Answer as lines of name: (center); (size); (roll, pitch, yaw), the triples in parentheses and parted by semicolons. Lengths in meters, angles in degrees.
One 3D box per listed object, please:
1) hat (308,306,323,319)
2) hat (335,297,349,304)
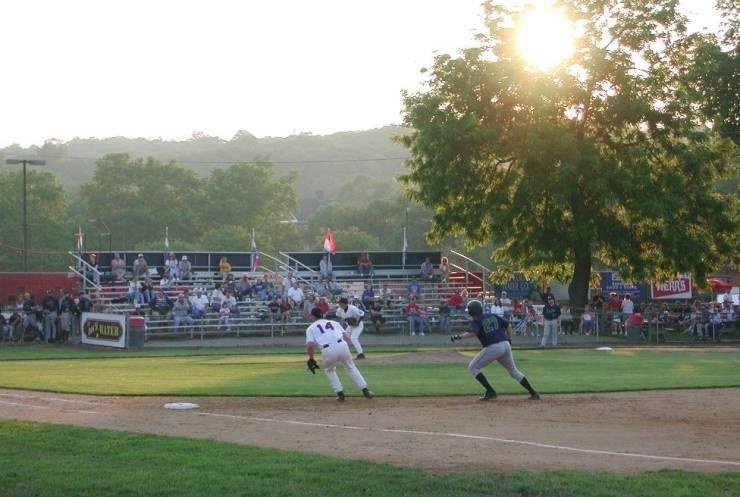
hat: (-2.553, 2.919, 64.906); (0.525, 0.559, 0.846); (5, -29, -5)
hat: (-1.462, 2.596, 72.571); (0.495, 0.358, 0.629); (-1, -6, -2)
